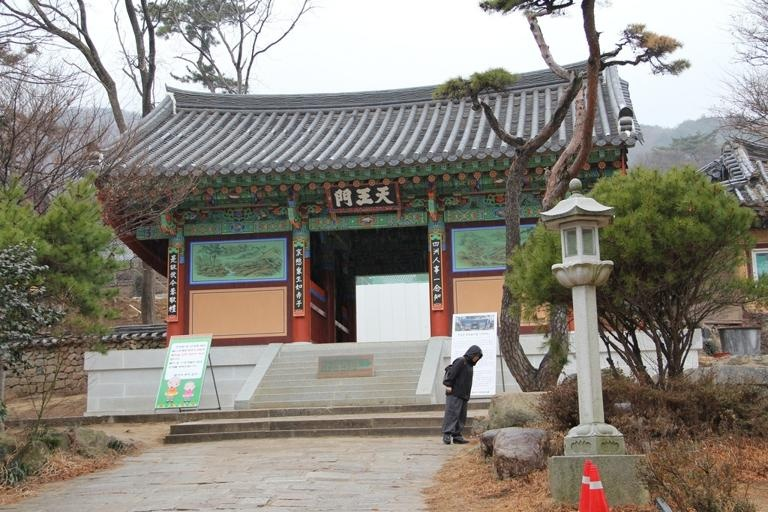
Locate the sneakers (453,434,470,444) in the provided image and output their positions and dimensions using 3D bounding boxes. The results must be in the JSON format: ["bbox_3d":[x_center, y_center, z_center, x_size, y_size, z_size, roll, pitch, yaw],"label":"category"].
[{"bbox_3d":[1.438,3.386,13.980,0.293,0.136,0.362,-4,-7,19],"label":"sneakers"}]

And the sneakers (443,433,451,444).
[{"bbox_3d":[1.174,3.381,13.977,0.153,0.167,0.249,-2,-6,5],"label":"sneakers"}]

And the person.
[{"bbox_3d":[1.406,2.584,14.139,0.611,1.773,0.720,-6,-7,35],"label":"person"}]
